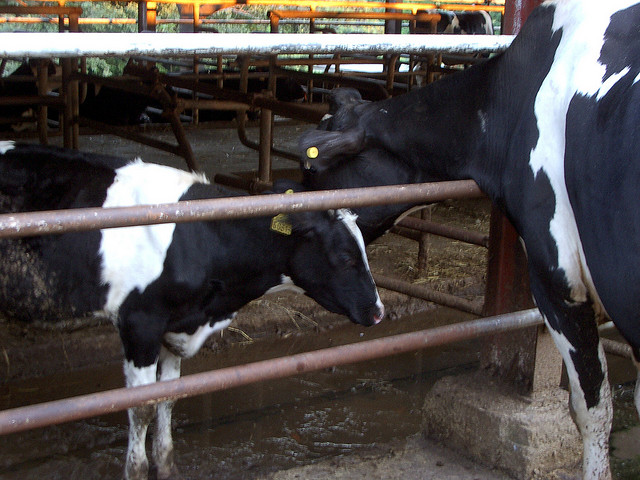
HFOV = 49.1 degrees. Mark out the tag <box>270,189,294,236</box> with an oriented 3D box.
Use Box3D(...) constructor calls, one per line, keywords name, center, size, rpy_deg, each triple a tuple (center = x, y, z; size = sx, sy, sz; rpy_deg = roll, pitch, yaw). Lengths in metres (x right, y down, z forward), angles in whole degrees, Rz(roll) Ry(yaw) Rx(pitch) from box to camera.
Box3D(name="tag", center=(-0.164, -0.110, 2.950), size=(0.141, 0.166, 0.043), rpy_deg=(8, 3, 2))
